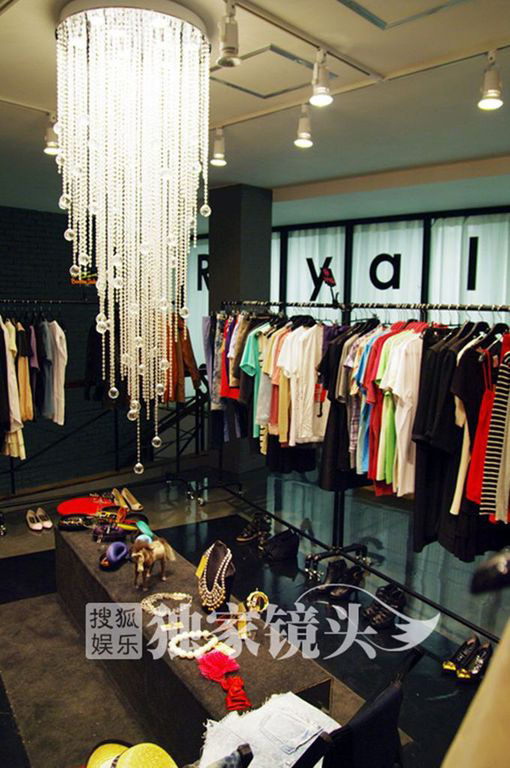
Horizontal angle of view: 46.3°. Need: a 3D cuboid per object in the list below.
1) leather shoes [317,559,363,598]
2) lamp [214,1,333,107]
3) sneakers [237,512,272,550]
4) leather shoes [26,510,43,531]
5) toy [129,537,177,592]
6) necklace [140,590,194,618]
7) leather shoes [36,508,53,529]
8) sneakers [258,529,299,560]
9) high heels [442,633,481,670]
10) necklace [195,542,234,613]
[{"bbox_3d":[0.572,1.258,3.838,0.171,0.122,0.302,3,6,28],"label":"leather shoes"},{"bbox_3d":[0.041,-1.620,2.975,0.522,0.163,1.052,9,0,-2],"label":"lamp"},{"bbox_3d":[0.023,1.165,4.713,0.352,0.218,0.118,5,0,34],"label":"sneakers"},{"bbox_3d":[-1.793,1.103,4.859,0.085,0.094,0.262,-6,9,-24],"label":"leather shoes"},{"bbox_3d":[-0.484,0.820,2.753,0.091,0.201,0.356,8,4,16],"label":"toy"},{"bbox_3d":[-0.378,0.950,2.578,0.225,0.049,0.222,9,0,-35],"label":"necklace"},{"bbox_3d":[-1.746,1.111,4.934,0.087,0.092,0.259,-10,22,-28],"label":"leather shoes"},{"bbox_3d":[0.197,1.188,4.379,0.287,0.228,0.200,9,0,-3],"label":"sneakers"},{"bbox_3d":[1.045,1.325,2.991,0.088,0.099,0.271,-7,0,38],"label":"high heels"},{"bbox_3d":[-0.176,0.824,2.551,0.096,0.297,0.206,9,0,-36],"label":"necklace"}]
